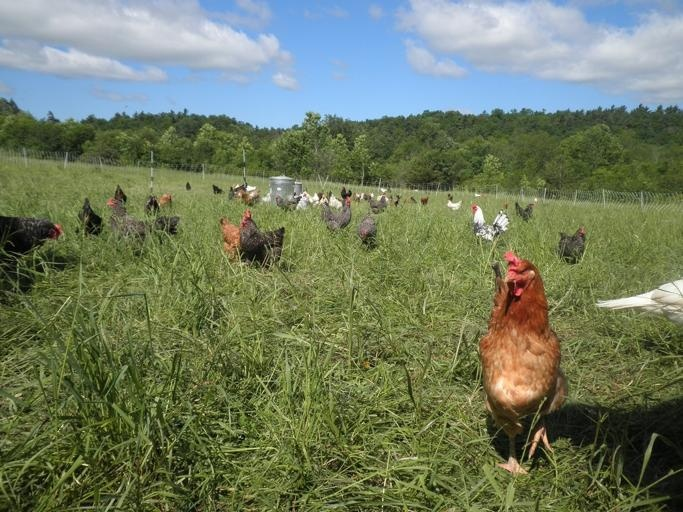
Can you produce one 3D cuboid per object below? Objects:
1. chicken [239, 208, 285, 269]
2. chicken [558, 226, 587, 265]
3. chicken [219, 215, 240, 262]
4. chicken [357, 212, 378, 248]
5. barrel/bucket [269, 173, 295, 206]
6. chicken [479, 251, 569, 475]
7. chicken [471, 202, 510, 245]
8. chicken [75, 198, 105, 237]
[{"bbox_3d":[-1.083,-0.214,6.971,0.528,0.807,0.539,-2,14,-25],"label":"chicken"},{"bbox_3d":[3.450,-0.173,7.768,0.379,0.497,0.658,7,12,23],"label":"chicken"},{"bbox_3d":[-1.566,-0.255,7.292,0.244,0.510,0.770,0,12,-14],"label":"chicken"},{"bbox_3d":[0.434,-0.463,8.575,0.269,0.536,0.736,-4,30,12],"label":"chicken"},{"bbox_3d":[-1.947,-2.116,16.406,0.882,1.064,0.928,1,5,0],"label":"barrel/bucket"},{"bbox_3d":[1.307,0.729,3.967,0.703,1.736,0.615,13,14,43],"label":"chicken"},{"bbox_3d":[2.906,-0.590,10.342,0.822,0.800,0.319,5,13,-8],"label":"chicken"},{"bbox_3d":[-3.574,-0.597,7.163,0.441,0.357,0.241,-10,18,35],"label":"chicken"}]
